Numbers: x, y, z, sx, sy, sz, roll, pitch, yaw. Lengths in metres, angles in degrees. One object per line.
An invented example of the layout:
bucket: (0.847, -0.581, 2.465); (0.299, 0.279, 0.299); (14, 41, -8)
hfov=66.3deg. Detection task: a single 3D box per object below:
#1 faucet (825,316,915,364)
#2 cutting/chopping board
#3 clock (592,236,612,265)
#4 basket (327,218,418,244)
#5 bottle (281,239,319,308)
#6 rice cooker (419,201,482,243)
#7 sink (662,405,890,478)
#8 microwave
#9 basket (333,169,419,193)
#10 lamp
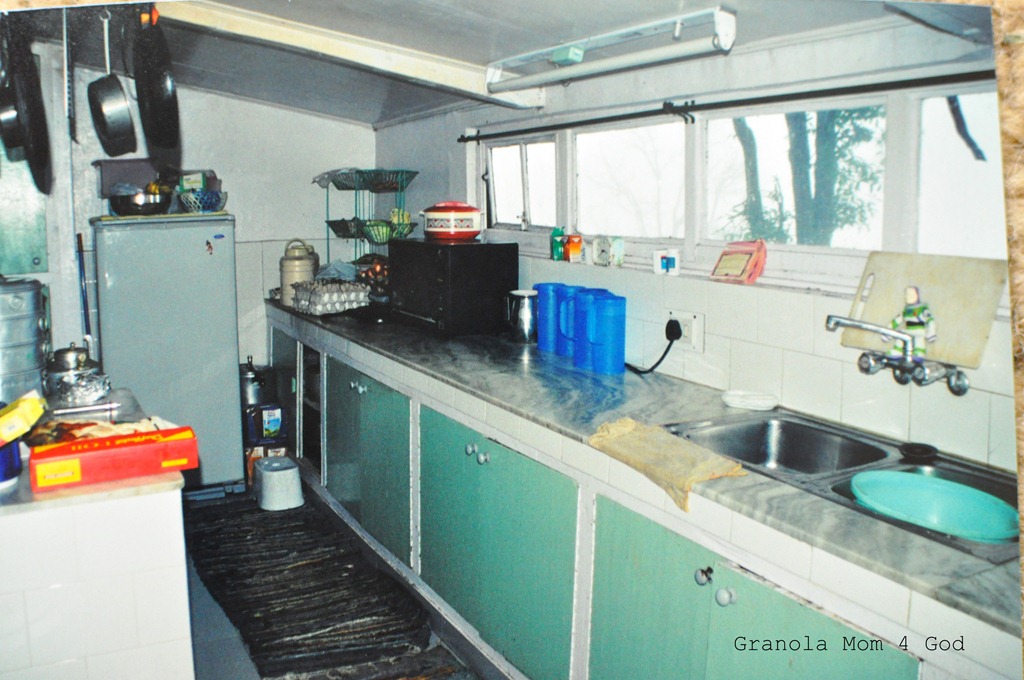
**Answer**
faucet: (1.285, -0.006, 2.780); (0.292, 0.104, 0.064); (24, 27, 32)
cutting/chopping board: (1.459, -0.091, 2.683); (0.020, 0.389, 0.448); (10, 12, -32)
clock: (0.439, -0.427, 3.783); (0.035, 0.137, 0.130); (-7, 13, -30)
basket: (-0.949, -0.713, 5.234); (0.444, 0.206, 0.671); (-7, 13, -29)
bottle: (-1.433, -0.451, 5.254); (0.250, 0.416, 0.289); (-4, 12, -18)
rice cooker: (-0.316, -0.625, 4.268); (0.294, 0.175, 0.233); (1, 4, 7)
sink: (1.056, 0.389, 2.853); (0.343, 0.158, 0.406); (-6, 10, -33)
microwave: (-0.326, -0.447, 4.287); (0.505, 0.507, 0.817); (-2, 8, -30)
basket: (-0.953, -1.069, 5.243); (0.354, 0.072, 0.298); (3, 8, 32)
lamp: (0.420, -1.207, 3.359); (0.501, 0.180, 1.326); (-6, 13, -27)
